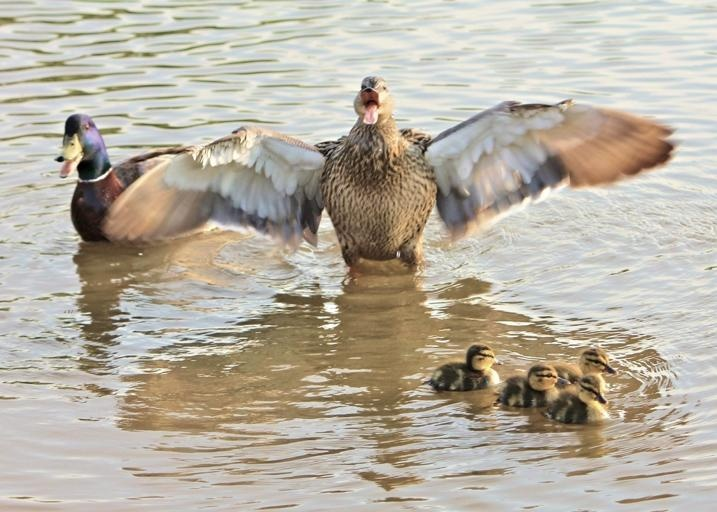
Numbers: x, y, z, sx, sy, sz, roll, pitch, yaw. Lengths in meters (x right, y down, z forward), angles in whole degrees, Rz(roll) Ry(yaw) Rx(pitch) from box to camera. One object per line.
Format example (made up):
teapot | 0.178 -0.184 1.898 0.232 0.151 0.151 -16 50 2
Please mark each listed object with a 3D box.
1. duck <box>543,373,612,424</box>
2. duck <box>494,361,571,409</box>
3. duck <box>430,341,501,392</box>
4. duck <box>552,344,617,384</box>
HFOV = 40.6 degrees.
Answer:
duck | 1.731 1.111 7.509 0.411 0.270 0.518 -6 3 -40
duck | 1.400 1.042 7.673 0.637 0.280 0.345 -3 10 31
duck | 0.784 0.910 7.894 0.708 0.316 0.390 3 12 -34
duck | 1.828 0.932 7.930 0.368 0.462 0.272 29 59 31
